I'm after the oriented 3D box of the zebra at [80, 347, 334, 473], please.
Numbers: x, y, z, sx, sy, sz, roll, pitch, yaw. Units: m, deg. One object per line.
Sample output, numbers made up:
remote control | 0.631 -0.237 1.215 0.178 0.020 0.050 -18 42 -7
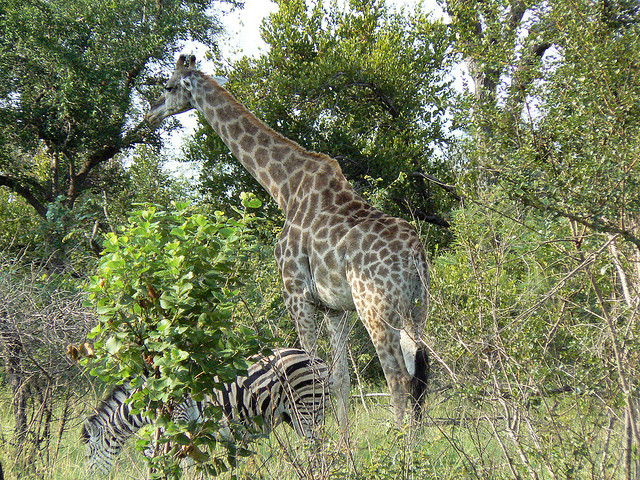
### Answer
zebra | -1.410 2.165 8.843 2.911 1.889 1.518 1 -27 20
